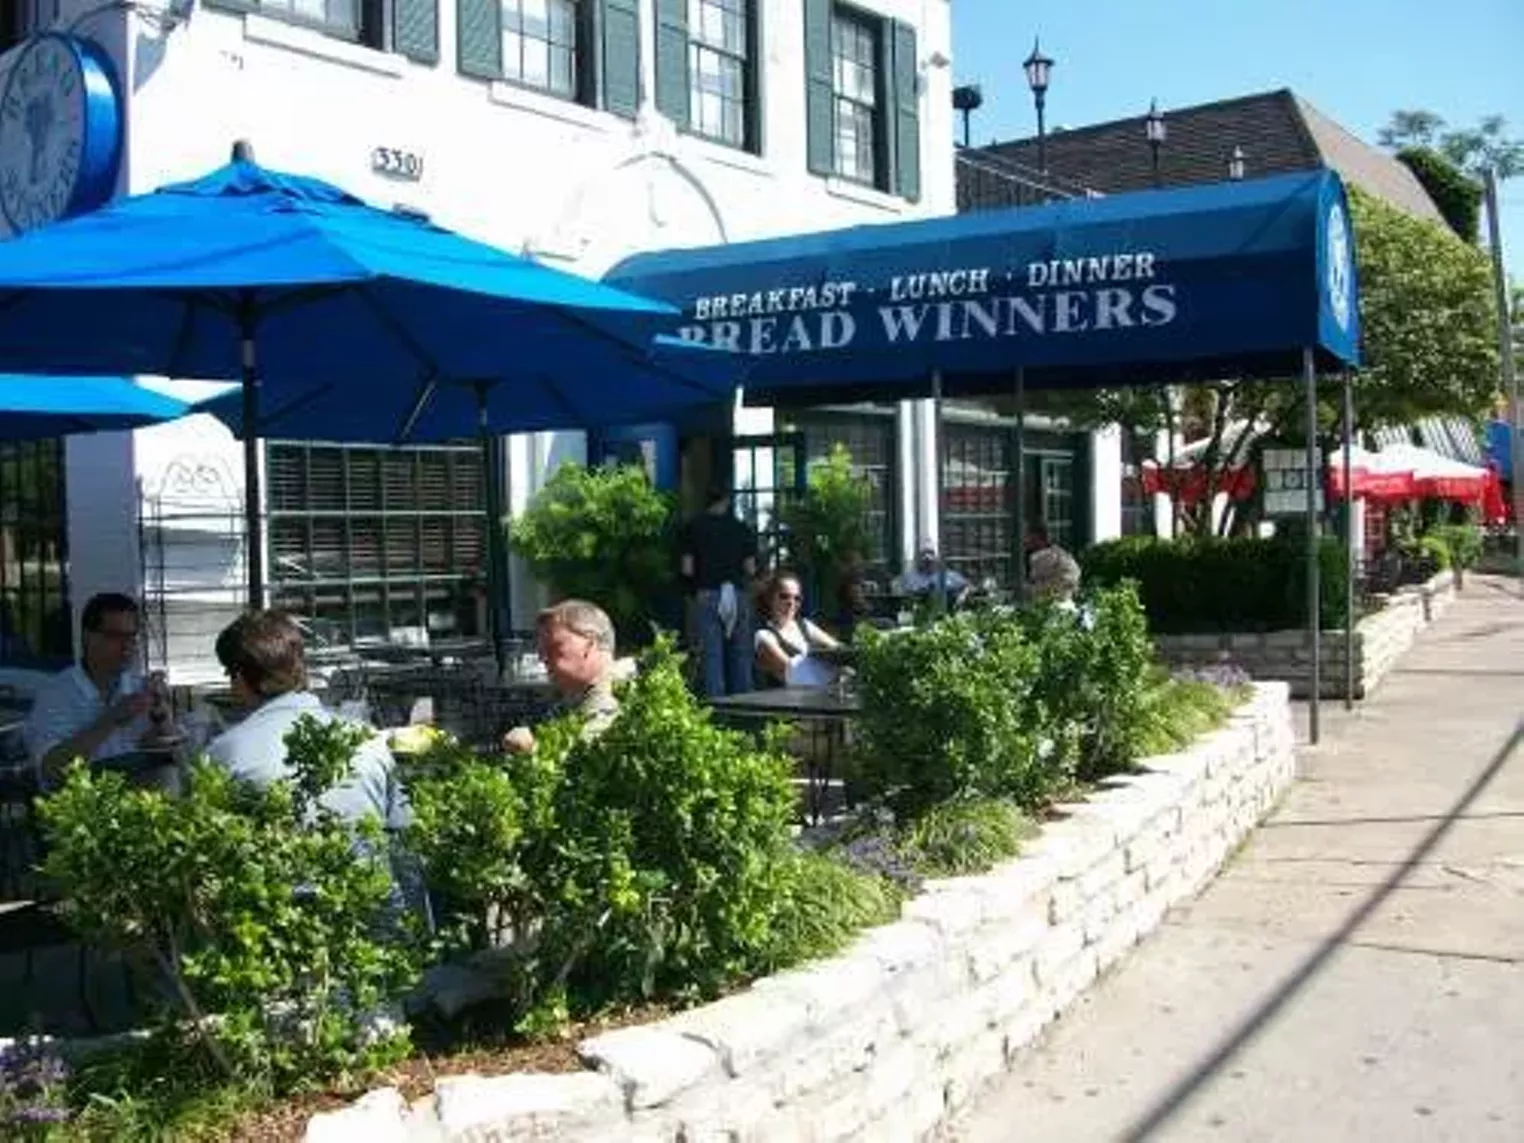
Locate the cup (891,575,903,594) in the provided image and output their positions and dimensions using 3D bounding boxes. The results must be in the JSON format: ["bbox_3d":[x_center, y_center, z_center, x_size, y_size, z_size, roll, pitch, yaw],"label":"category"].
[{"bbox_3d":[1.513,0.156,16.879,0.124,0.218,0.126,0,-2,0],"label":"cup"}]

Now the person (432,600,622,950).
[{"bbox_3d":[-0.856,0.708,6.235,0.945,1.139,0.992,-1,2,-7],"label":"person"}]

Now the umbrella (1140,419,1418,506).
[{"bbox_3d":[6.451,-1.367,19.179,1.777,0.864,1.932,0,0,-8],"label":"umbrella"}]

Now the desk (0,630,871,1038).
[{"bbox_3d":[-0.980,0.889,5.023,2.562,1.034,0.733,-3,2,-31],"label":"desk"}]

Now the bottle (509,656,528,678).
[{"bbox_3d":[-1.557,0.613,9.657,0.089,0.134,0.125,-1,-8,-17],"label":"bottle"}]
